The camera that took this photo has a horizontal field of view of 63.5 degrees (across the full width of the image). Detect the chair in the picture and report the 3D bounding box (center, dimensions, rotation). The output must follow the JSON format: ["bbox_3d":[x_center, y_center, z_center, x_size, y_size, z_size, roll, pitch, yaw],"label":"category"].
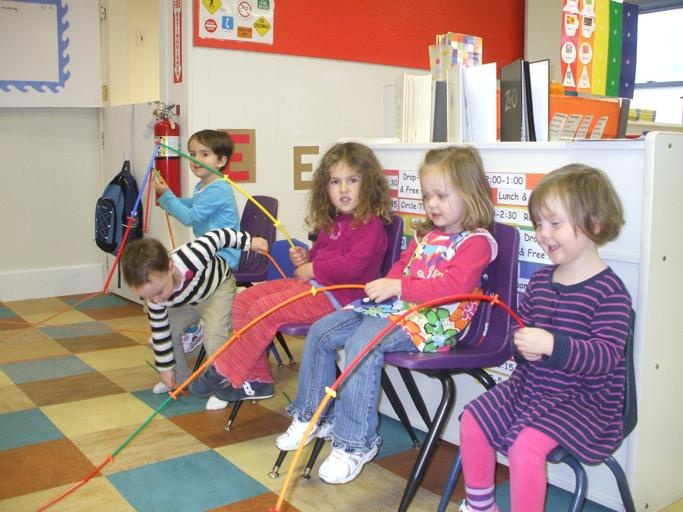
[{"bbox_3d":[0.231,0.303,2.337,0.943,1.360,0.889,0,3,-44],"label":"chair"}]

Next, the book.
[{"bbox_3d":[0.549,-0.763,2.409,0.501,0.531,0.899,-1,12,-9],"label":"book"}]

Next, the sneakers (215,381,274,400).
[{"bbox_3d":[-0.431,0.587,2.414,0.246,0.120,0.097,4,-1,-15],"label":"sneakers"}]

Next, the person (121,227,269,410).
[{"bbox_3d":[-0.666,0.250,2.564,0.650,0.805,0.512,-18,23,-36],"label":"person"}]

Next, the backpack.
[{"bbox_3d":[-1.635,-0.358,3.999,0.340,0.648,0.253,16,18,21],"label":"backpack"}]

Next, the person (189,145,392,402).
[{"bbox_3d":[-0.212,0.049,2.316,0.824,1.057,0.485,1,5,-23],"label":"person"}]
